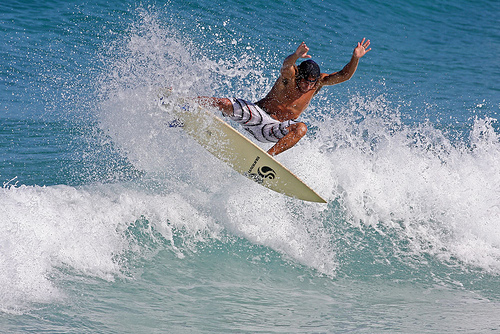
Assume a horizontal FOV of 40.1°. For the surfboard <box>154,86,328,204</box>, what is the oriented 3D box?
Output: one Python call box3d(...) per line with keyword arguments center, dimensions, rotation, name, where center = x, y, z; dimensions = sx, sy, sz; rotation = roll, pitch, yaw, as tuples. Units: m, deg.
box3d(center=(-0.206, -0.350, 13.267), dimensions=(3.864, 0.404, 0.555), rotation=(32, -65, -15), name="surfboard")
